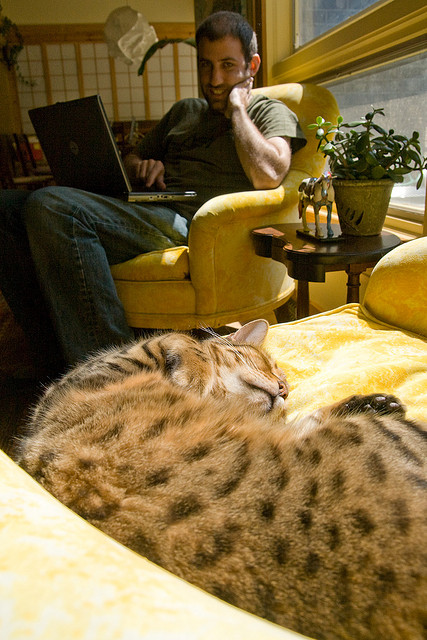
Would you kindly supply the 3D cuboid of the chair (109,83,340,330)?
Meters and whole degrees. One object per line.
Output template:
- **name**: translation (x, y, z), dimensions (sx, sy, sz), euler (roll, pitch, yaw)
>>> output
- **chair**: translation (-0.015, -0.316, 1.605), dimensions (0.739, 0.797, 0.671), euler (-10, 20, -19)

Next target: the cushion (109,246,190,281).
- **cushion**: translation (-0.165, -0.152, 1.336), dimensions (0.129, 0.040, 0.131), euler (-5, 17, 6)

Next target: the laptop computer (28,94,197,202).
- **laptop computer**: translation (-0.350, -0.493, 1.471), dimensions (0.342, 0.191, 0.332), euler (9, 9, 11)

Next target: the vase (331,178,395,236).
- **vase**: translation (0.356, -0.273, 1.150), dimensions (0.154, 0.123, 0.153), euler (13, 26, 37)

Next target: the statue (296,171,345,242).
- **statue**: translation (0.243, -0.272, 1.124), dimensions (0.076, 0.153, 0.214), euler (-5, 18, -6)
